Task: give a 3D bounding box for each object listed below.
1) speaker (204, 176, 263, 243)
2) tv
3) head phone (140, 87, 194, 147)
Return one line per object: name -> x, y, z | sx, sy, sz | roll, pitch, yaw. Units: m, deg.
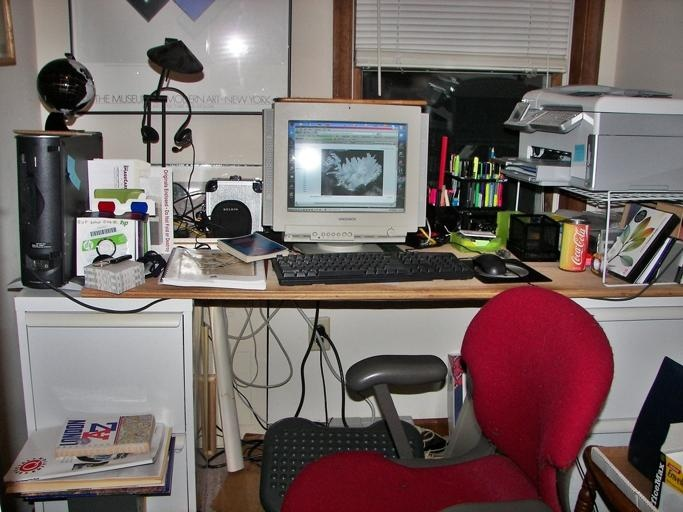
speaker -> -0.431, -0.179, 2.279 | 0.235, 0.248, 0.072 | -2, 5, -10
tv -> 0.038, -0.255, 2.379 | 0.835, 0.734, 0.468 | 1, 10, -4
head phone -> -0.715, -0.580, 2.365 | 0.199, 0.261, 0.076 | -3, 8, -15
